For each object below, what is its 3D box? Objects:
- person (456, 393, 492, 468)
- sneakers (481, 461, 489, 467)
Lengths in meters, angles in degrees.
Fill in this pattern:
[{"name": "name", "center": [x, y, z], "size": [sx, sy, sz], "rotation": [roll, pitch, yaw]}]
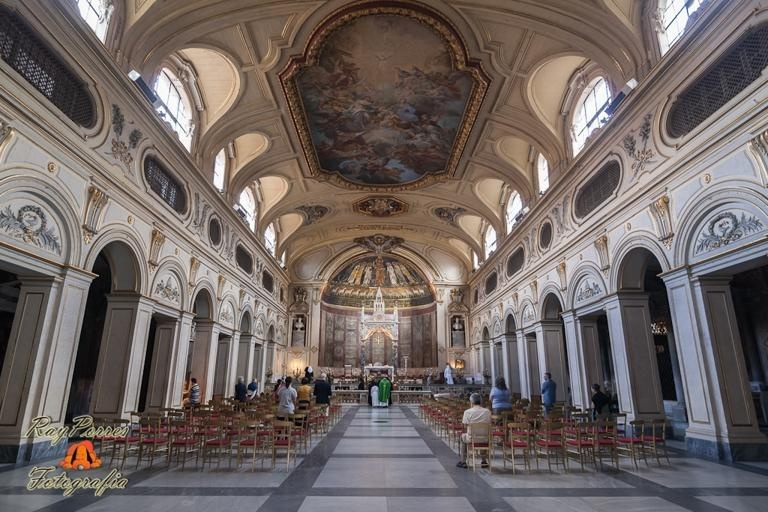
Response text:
[{"name": "person", "center": [2.100, 4.124, 9.594], "size": [0.671, 1.660, 1.113], "rotation": [3, -11, -14]}, {"name": "sneakers", "center": [2.324, 4.829, 9.347], "size": [0.136, 0.092, 0.133], "rotation": [1, -28, -1]}]
